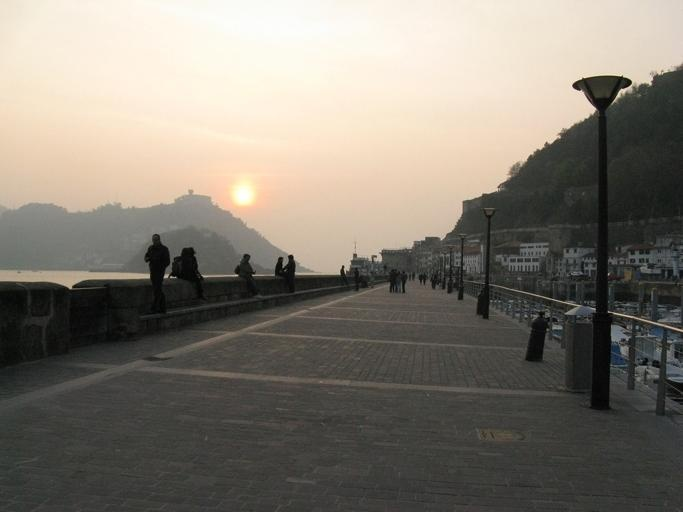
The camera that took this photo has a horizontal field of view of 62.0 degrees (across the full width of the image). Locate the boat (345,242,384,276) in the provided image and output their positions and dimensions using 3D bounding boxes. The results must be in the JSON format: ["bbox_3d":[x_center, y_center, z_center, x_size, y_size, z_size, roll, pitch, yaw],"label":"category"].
[{"bbox_3d":[9.925,2.697,270.496,11.385,10.145,11.767,-7,5,-27],"label":"boat"}]

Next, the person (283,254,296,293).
[{"bbox_3d":[-2.529,0.827,27.665,0.499,1.796,1.060,1,1,-11],"label":"person"}]

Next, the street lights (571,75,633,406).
[{"bbox_3d":[3.580,-0.194,7.806,0.438,3.587,0.549,0,1,-36],"label":"street lights"}]
